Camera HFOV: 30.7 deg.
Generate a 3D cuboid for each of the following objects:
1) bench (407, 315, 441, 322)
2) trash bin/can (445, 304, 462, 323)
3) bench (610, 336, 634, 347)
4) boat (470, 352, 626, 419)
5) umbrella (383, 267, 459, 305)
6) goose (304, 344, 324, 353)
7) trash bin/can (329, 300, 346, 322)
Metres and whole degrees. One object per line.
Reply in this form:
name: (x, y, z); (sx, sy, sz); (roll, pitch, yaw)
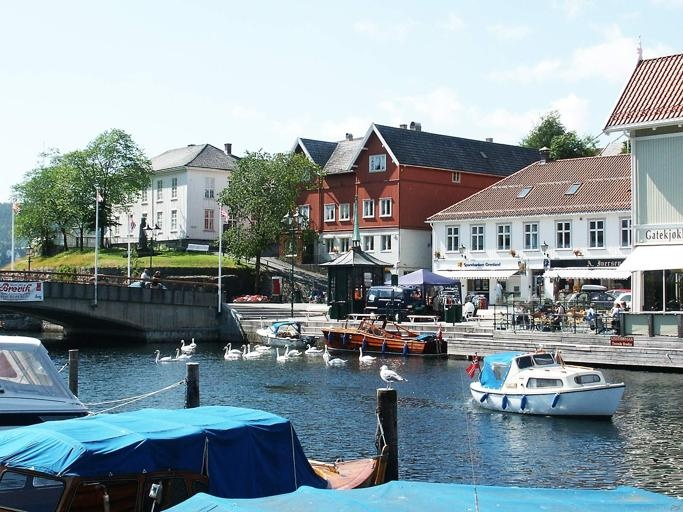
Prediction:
bench: (4.925, 3.689, 74.929); (1.997, 0.470, 1.894); (0, -3, 12)
trash bin/can: (6.794, 3.409, 75.243); (1.081, 1.054, 0.720); (1, -3, -5)
bench: (13.896, 4.147, 61.448); (1.102, 0.499, 0.497); (0, -3, 14)
boat: (8.786, 5.595, 53.972); (5.332, 2.273, 2.896); (-5, -7, 42)
umbrella: (5.222, 1.704, 76.236); (3.360, 1.861, 1.553); (1, -3, -3)
goose: (-1.678, 5.281, 71.712); (0.729, 0.464, 0.506); (4, 2, 45)
trash bin/can: (-0.117, 3.434, 79.021); (1.290, 1.393, 0.969); (0, 2, 14)
